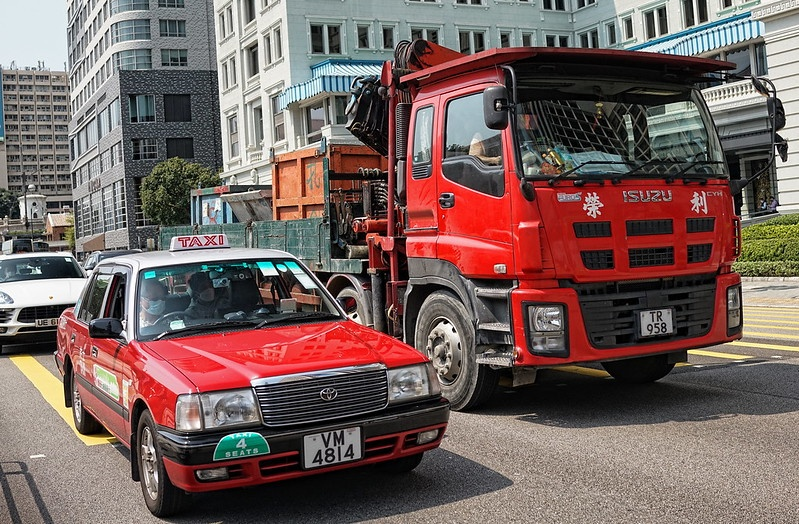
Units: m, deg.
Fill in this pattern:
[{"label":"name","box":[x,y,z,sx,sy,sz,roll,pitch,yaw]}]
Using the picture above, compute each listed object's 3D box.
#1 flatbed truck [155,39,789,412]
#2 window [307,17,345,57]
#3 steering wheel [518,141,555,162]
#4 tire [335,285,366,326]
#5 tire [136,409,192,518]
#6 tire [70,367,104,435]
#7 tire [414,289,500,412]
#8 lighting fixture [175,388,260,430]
[{"label":"flatbed truck","box":[0.425,-0.767,12.300,3.691,4.176,10.548,-4,4,-34]},{"label":"window","box":[-4.611,-13.938,40.659,2.606,2.307,0.334,-4,4,-43]},{"label":"steering wheel","box":[1.609,-1.278,7.722,0.250,0.154,0.335,1,-1,-28]},{"label":"tire","box":[-0.683,0.642,9.599,0.191,0.597,0.584,1,1,-41]},{"label":"tire","box":[-2.032,1.761,5.753,0.270,0.865,0.850,-3,17,-28]},{"label":"tire","box":[-4.027,1.761,8.421,0.228,0.735,0.723,-4,-5,-42]},{"label":"tire","box":[0.741,1.092,7.990,0.542,1.592,1.411,-3,8,-34]},{"label":"lighting fixture","box":[-1.530,1.251,5.558,0.696,0.302,0.105,-3,4,-4]}]
